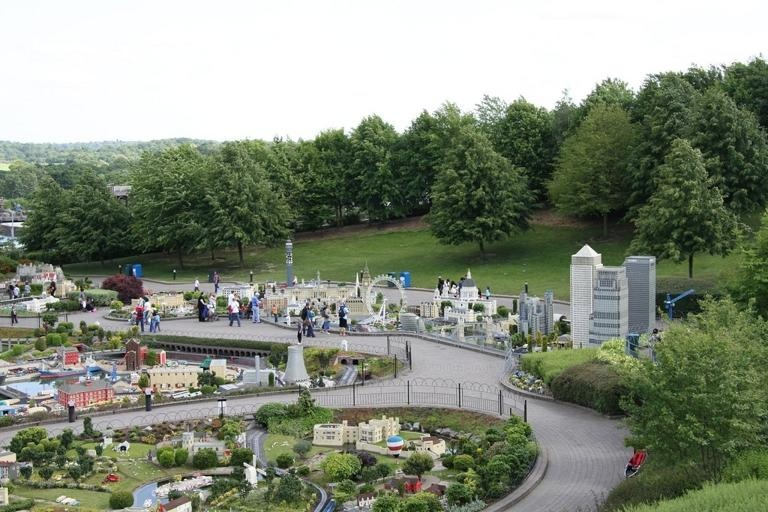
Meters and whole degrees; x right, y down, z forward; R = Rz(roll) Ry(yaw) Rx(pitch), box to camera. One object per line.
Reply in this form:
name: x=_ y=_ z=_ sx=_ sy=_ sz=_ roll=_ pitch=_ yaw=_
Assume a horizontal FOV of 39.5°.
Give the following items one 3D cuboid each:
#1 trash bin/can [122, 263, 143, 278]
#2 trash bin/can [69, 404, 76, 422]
trash bin/can: x=-26.576 y=1.655 z=113.557 sx=0.791 sy=1.293 sz=1.350 roll=0 pitch=-1 yaw=-44
trash bin/can: x=-20.650 y=10.461 z=70.870 sx=0.441 sy=0.907 sz=0.948 roll=-3 pitch=2 yaw=-17
